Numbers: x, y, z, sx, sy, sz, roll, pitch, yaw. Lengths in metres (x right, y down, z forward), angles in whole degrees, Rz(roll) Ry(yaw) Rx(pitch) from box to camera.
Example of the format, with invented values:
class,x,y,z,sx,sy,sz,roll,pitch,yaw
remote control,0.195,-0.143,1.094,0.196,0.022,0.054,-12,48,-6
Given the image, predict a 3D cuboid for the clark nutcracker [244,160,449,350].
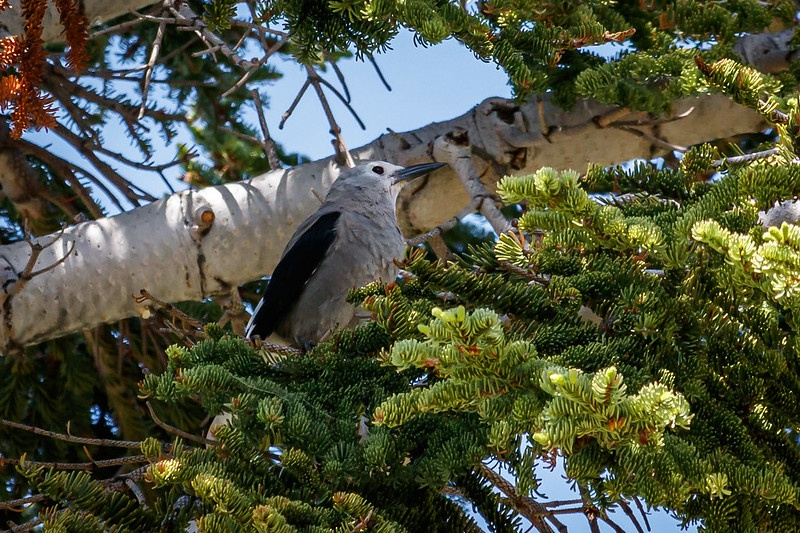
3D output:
class,x,y,z,sx,sy,sz,roll,pitch,yaw
clark nutcracker,-0.370,-0.056,8.820,1.065,1.301,0.464,-1,-32,-3
